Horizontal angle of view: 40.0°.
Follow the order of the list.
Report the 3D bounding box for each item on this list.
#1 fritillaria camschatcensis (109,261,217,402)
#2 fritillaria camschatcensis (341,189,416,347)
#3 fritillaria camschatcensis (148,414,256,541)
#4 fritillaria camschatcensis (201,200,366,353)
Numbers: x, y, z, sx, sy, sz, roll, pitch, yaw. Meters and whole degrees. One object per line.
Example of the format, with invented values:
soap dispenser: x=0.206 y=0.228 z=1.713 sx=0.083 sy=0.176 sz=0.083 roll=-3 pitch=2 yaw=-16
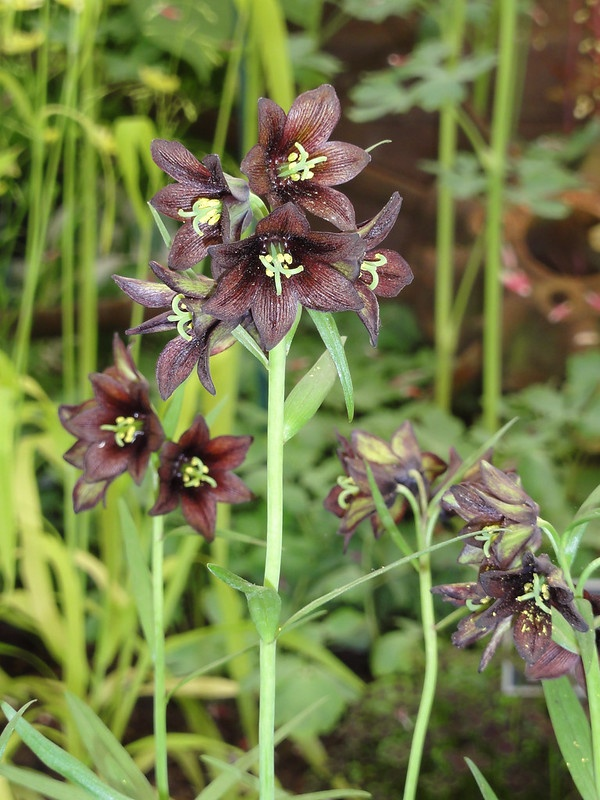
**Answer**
fritillaria camschatcensis: x=-0.100 y=-0.041 z=0.559 sx=0.048 sy=0.086 sz=0.102 roll=-35 pitch=21 yaw=-24
fritillaria camschatcensis: x=0.057 y=-0.094 z=0.593 sx=0.050 sy=0.086 sz=0.105 roll=14 pitch=10 yaw=19
fritillaria camschatcensis: x=-0.099 y=0.062 z=0.692 sx=0.100 sy=0.043 sz=0.107 roll=15 pitch=51 yaw=-37
fritillaria camschatcensis: x=-0.010 y=-0.084 z=0.525 sx=0.109 sy=0.041 sz=0.084 roll=-7 pitch=70 yaw=-9
